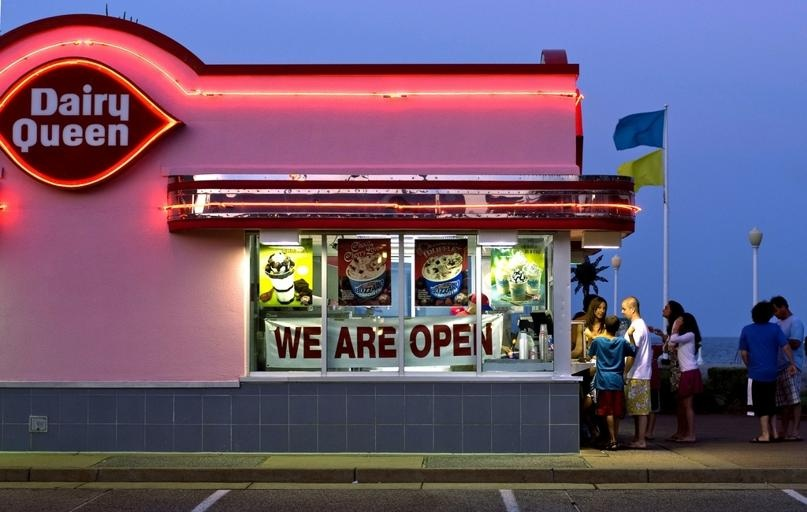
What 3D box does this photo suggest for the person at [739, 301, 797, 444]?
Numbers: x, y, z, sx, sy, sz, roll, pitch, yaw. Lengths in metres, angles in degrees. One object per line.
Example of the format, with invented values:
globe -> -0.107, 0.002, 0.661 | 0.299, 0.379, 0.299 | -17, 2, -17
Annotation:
person -> 7.012, 2.190, 21.447 | 0.996, 2.667, 0.587 | -5, -9, 21

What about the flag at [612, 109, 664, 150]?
flag -> 4.951, -2.621, 23.422 | 1.021, 1.093, 1.799 | -3, -7, 12

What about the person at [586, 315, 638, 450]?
person -> 3.846, 2.342, 20.751 | 0.710, 2.416, 1.006 | 0, -8, -14

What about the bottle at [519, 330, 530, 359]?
bottle -> 2.245, 1.635, 20.579 | 0.213, 0.519, 0.069 | -1, -9, -6

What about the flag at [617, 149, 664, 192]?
flag -> 4.814, -1.676, 22.483 | 0.827, 0.976, 1.560 | -3, -7, 11

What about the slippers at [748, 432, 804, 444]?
slippers -> 7.103, 3.456, 21.229 | 0.990, 0.123, 0.298 | 0, -4, -3
